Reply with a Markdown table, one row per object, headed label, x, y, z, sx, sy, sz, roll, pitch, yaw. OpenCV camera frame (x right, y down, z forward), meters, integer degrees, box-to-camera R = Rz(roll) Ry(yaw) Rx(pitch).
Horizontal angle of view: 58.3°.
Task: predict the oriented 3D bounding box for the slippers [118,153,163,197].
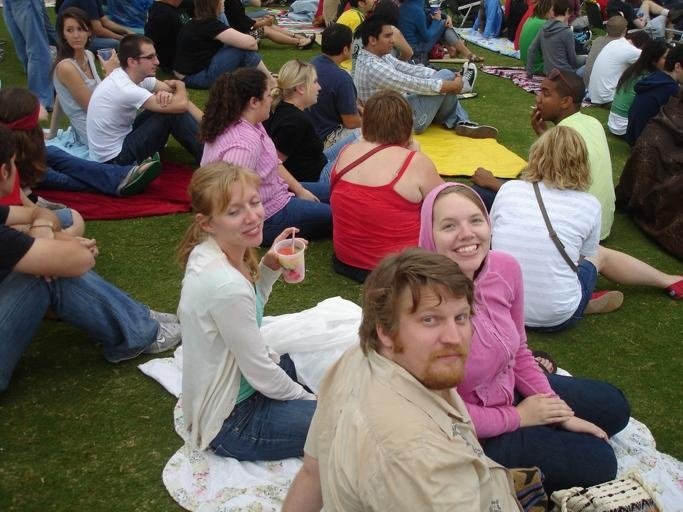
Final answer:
| label | x | y | z | sx | sy | sz | roll | pitch | yaw |
| --- | --- | --- | --- | --- | --- | --- | --- | --- | --- |
| slippers | -2.054 | -0.799 | 6.390 | 0.569 | 0.268 | 0.238 | -40 | 45 | 3 |

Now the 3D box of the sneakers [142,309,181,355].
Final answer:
| label | x | y | z | sx | sy | sz | roll | pitch | yaw |
| --- | --- | --- | --- | --- | --- | --- | --- | --- | --- |
| sneakers | -1.237 | 0.583 | 4.605 | 0.456 | 0.201 | 0.229 | -8 | 35 | -26 |

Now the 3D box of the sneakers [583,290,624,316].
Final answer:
| label | x | y | z | sx | sy | sz | roll | pitch | yaw |
| --- | --- | --- | --- | --- | --- | --- | --- | --- | --- |
| sneakers | 2.185 | 0.384 | 5.101 | 0.414 | 0.146 | 0.166 | -5 | 7 | -11 |

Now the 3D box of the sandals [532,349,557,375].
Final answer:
| label | x | y | z | sx | sy | sz | roll | pitch | yaw |
| --- | --- | --- | --- | --- | --- | --- | --- | --- | --- |
| sandals | 1.398 | 0.732 | 4.170 | 0.142 | 0.075 | 0.183 | 38 | 4 | -26 |

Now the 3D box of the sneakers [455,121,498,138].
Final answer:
| label | x | y | z | sx | sy | sz | roll | pitch | yaw |
| --- | --- | --- | --- | --- | --- | --- | --- | --- | --- |
| sneakers | 1.832 | -1.698 | 8.418 | 0.613 | 0.237 | 0.246 | 7 | 7 | 23 |

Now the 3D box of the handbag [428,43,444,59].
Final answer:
| label | x | y | z | sx | sy | sz | roll | pitch | yaw |
| --- | --- | --- | --- | --- | --- | --- | --- | --- | --- |
| handbag | 1.891 | -4.002 | 12.060 | 0.339 | 0.150 | 0.269 | 4 | 10 | 25 |

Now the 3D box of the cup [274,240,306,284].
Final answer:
| label | x | y | z | sx | sy | sz | roll | pitch | yaw |
| --- | --- | --- | --- | --- | --- | --- | --- | --- | --- |
| cup | -0.317 | 0.024 | 4.133 | 0.235 | 0.263 | 0.255 | -3 | 31 | 2 |
